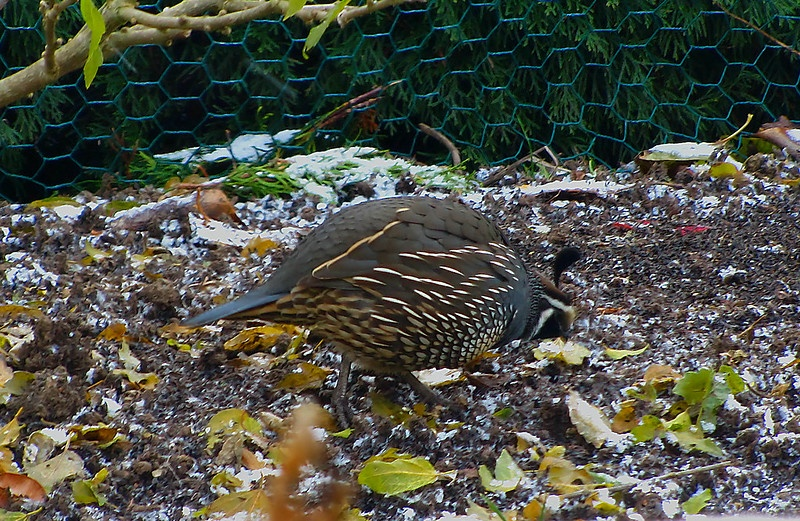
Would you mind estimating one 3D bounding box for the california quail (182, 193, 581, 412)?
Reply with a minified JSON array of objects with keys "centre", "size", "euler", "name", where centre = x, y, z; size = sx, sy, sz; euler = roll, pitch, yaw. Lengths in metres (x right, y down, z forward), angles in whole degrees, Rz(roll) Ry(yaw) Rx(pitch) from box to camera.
[{"centre":[0.055,0.206,4.904],"size":[1.049,0.495,1.037],"euler":[43,82,8],"name":"california quail"}]
